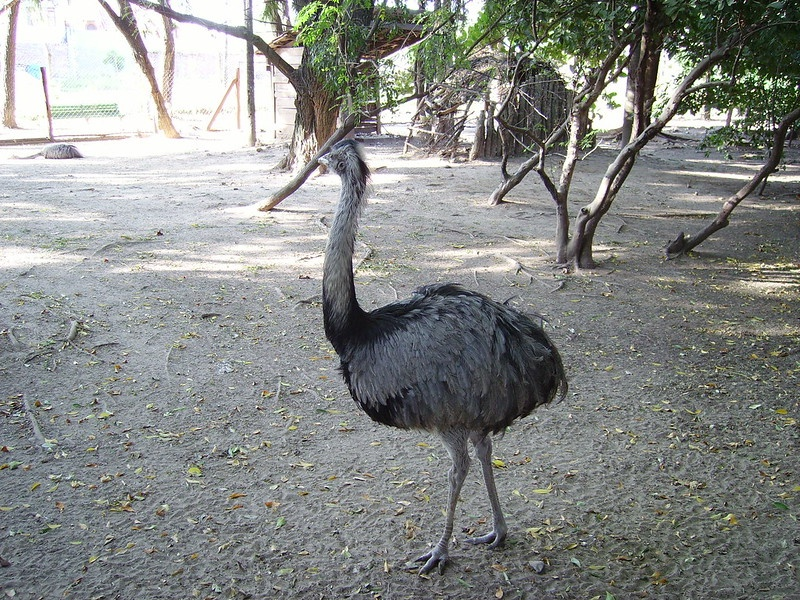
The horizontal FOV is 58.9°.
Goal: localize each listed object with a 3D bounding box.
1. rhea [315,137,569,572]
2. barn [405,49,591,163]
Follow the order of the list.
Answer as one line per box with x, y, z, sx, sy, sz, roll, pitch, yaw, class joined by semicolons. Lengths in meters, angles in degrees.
0.127;0.434;4.751;1.646;2.539;0.935;15;25;22;rhea
2.369;-4.752;16.443;4.177;1.561;4.816;0;16;-1;barn
